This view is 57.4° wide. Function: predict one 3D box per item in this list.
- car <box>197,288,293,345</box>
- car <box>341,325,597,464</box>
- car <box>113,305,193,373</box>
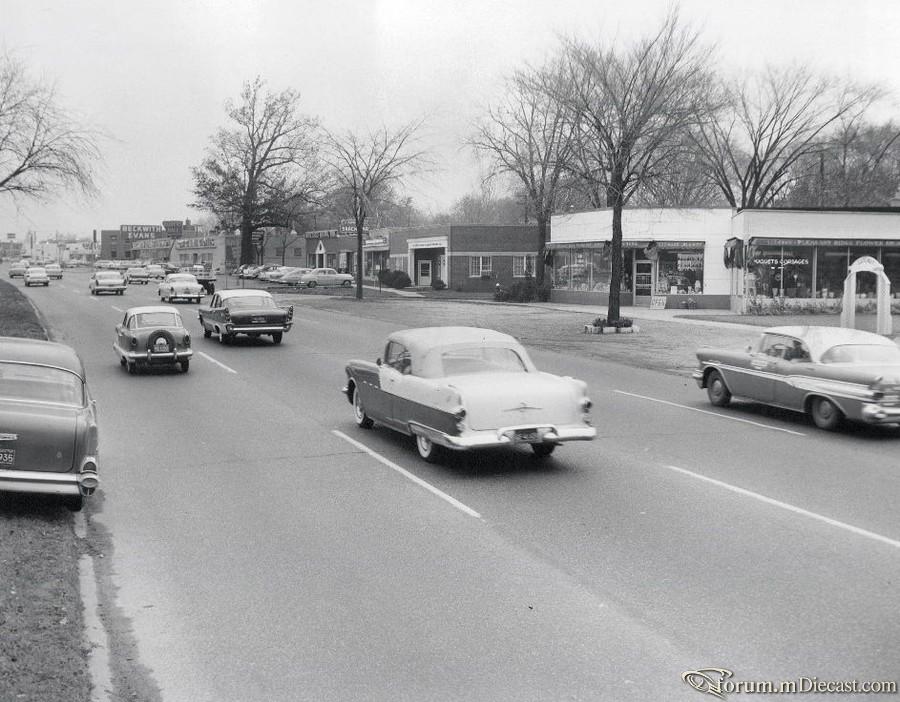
[{"bbox_3d":[-7.197,-1.176,28.685,2.072,1.865,3.721,-4,7,-37],"label":"car"},{"bbox_3d":[-0.052,0.460,12.287,1.703,1.233,3.294,0,11,-25],"label":"car"},{"bbox_3d":[-7.809,-0.259,21.688,1.585,1.677,2.306,-3,7,-35],"label":"car"}]
